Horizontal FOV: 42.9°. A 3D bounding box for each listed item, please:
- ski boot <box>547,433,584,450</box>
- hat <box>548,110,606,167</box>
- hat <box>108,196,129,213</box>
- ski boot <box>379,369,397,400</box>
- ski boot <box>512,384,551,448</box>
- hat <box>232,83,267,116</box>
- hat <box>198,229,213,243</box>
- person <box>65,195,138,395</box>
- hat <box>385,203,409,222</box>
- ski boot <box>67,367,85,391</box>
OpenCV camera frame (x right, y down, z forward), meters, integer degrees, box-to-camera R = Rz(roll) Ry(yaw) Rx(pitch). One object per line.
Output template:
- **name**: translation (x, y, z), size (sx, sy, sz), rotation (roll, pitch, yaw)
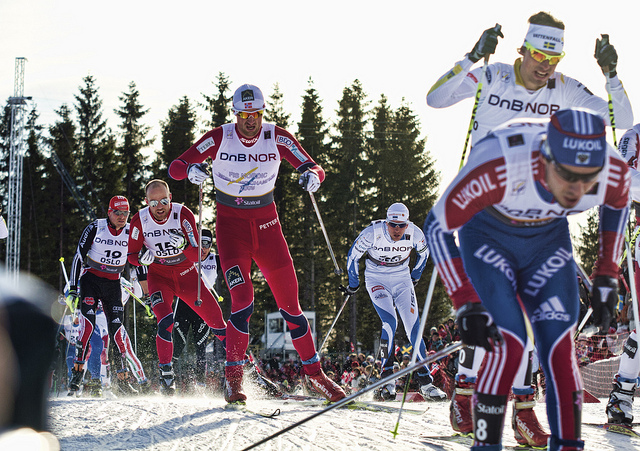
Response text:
- **ski boot**: translation (1.862, 1.651, 6.185), size (0.254, 0.127, 0.140), rotation (-2, -10, 18)
- **hat**: translation (2.007, -0.665, 6.336), size (0.418, 0.438, 0.520), rotation (1, 7, -13)
- **hat**: translation (-3.347, -0.346, 13.603), size (0.300, 0.306, 0.347), rotation (4, -10, -18)
- **ski boot**: translation (1.158, 2.603, 13.607), size (0.373, 0.178, 0.486), rotation (-11, -35, 3)
- **ski boot**: translation (1.969, 1.796, 7.689), size (0.436, 0.580, 0.323), rotation (-5, -11, 34)
- **hat**: translation (-0.873, -1.556, 9.855), size (0.424, 0.323, 0.560), rotation (-7, 18, -14)
- **hat**: translation (-1.982, 0.196, 14.067), size (0.168, 0.241, 0.232), rotation (2, -26, -8)
- **person**: translation (-3.589, 1.107, 13.793), size (1.387, 3.469, 1.122), rotation (7, 10, -12)
- **hat**: translation (1.357, -0.194, 14.221), size (0.250, 0.310, 0.361), rotation (5, -15, 1)
- **ski boot**: translation (-3.986, 2.519, 13.330), size (0.209, 0.382, 0.302), rotation (4, -10, -19)
